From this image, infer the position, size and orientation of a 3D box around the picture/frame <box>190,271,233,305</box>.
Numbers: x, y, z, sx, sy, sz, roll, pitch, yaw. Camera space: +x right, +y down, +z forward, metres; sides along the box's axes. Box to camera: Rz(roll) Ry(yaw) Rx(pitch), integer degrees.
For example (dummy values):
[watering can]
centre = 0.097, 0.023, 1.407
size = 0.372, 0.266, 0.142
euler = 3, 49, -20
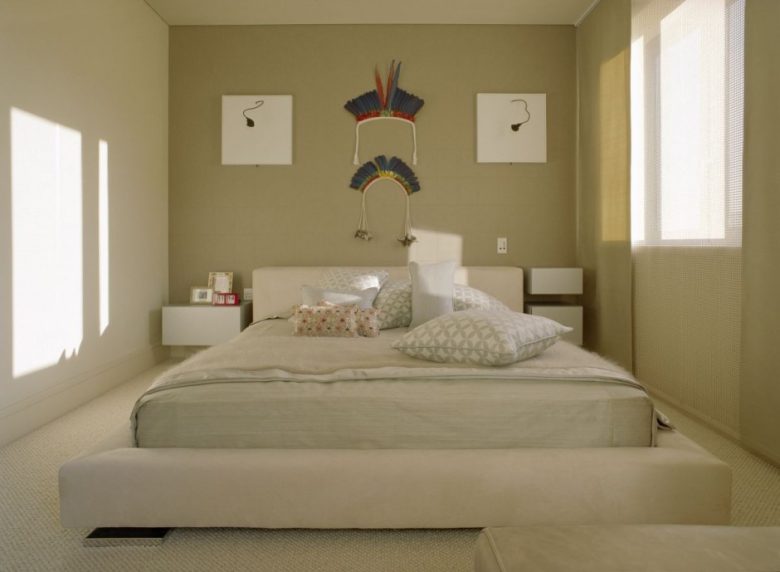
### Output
[picture/frame]
centre = -1.518, 0.021, 5.463
size = 0.238, 0.229, 0.093
euler = -2, -17, 10
